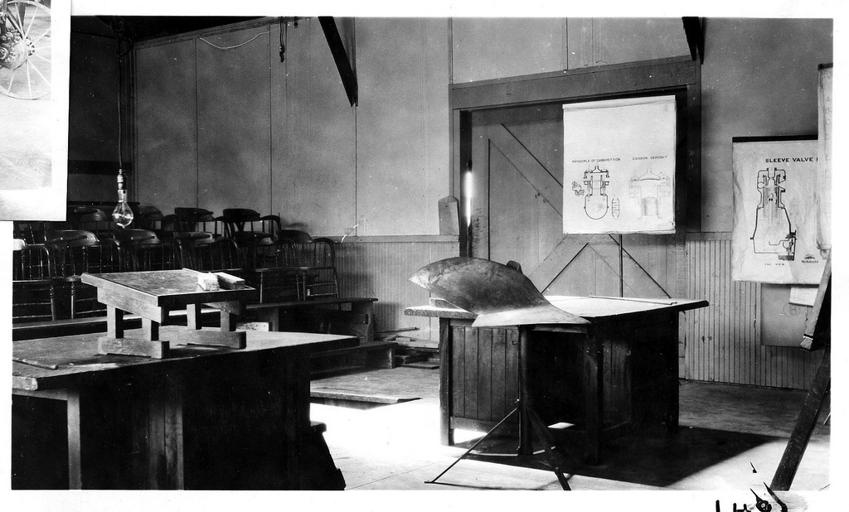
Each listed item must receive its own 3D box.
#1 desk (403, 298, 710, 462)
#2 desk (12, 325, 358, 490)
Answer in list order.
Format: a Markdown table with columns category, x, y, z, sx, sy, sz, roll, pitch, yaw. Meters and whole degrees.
| category | x | y | z | sx | sy | sz | roll | pitch | yaw |
| --- | --- | --- | --- | --- | --- | --- | --- | --- | --- |
| desk | 1.082 | 0.907 | 5.659 | 1.566 | 0.855 | 1.577 | 0 | 0 | 42 |
| desk | -1.760 | 0.874 | 4.681 | 1.517 | 0.876 | 1.302 | 1 | 0 | 38 |
